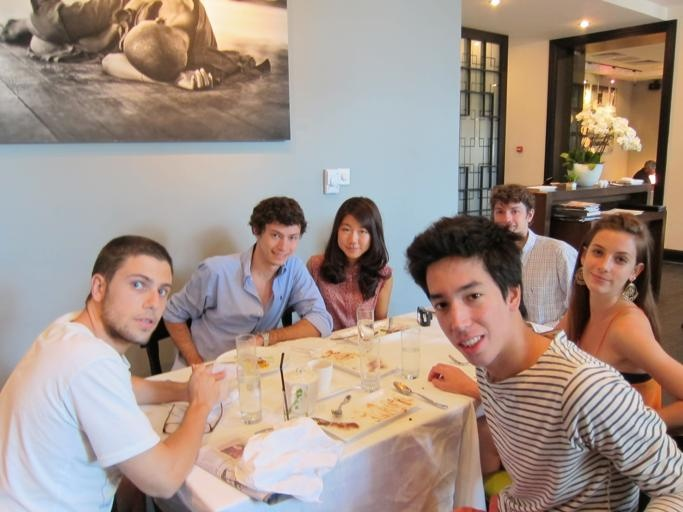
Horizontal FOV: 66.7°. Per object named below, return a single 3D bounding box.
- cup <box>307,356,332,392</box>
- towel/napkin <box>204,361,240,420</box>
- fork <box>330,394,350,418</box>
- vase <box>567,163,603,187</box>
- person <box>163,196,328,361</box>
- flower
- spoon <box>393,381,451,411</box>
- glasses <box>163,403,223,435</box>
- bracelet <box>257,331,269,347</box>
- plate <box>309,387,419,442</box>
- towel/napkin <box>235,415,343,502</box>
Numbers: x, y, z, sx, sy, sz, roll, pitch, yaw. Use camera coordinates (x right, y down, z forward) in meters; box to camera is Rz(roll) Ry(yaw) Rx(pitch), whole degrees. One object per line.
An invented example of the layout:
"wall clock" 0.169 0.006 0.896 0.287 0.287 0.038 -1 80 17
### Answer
"cup" -0.087 0.461 2.001 0.091 0.105 0.102 -3 4 -2
"towel/napkin" -0.427 0.494 1.903 0.154 0.059 0.154 -14 26 -38
"fork" -0.003 0.531 1.834 0.029 0.024 0.076 15 38 32
"vase" 2.461 -0.813 5.277 0.243 0.186 0.245 -6 9 -21
"person" -0.527 0.130 2.667 0.556 1.122 0.601 29 23 26
"flower" 2.609 -1.058 5.273 0.552 0.648 0.602 4 23 -47
"spoon" 0.287 0.514 1.899 0.060 0.042 0.284 -7 14 -29
"glasses" -0.513 0.563 1.787 0.107 0.030 0.108 0 21 0
"bracelet" -0.367 0.389 2.413 0.056 0.053 0.037 23 8 39
"plate" 0.092 0.545 1.794 0.231 0.033 0.148 -11 21 -40
"towel/napkin" -0.161 0.628 1.572 0.236 0.166 0.293 2 9 40
